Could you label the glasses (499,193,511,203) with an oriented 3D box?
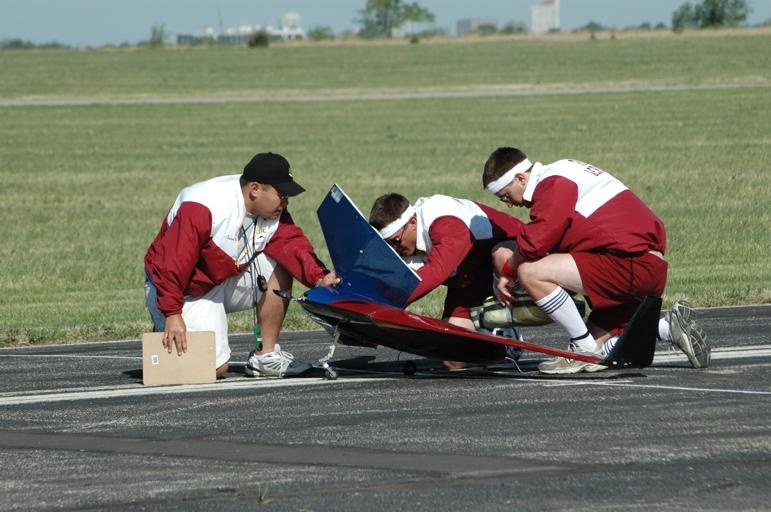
[{"bbox_3d":[2.400,-1.151,30.158,0.171,0.104,0.224,30,-6,19],"label":"glasses"}]
